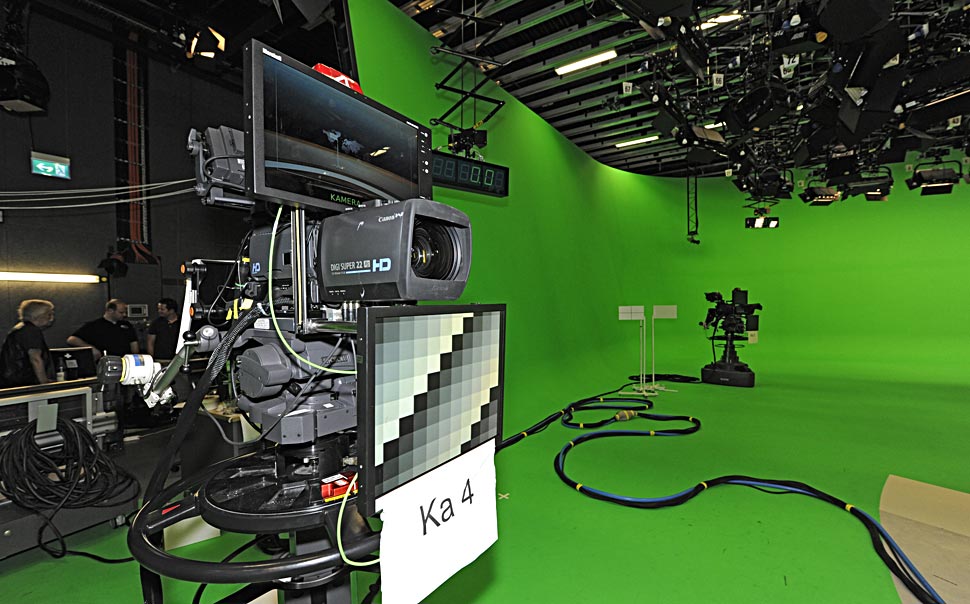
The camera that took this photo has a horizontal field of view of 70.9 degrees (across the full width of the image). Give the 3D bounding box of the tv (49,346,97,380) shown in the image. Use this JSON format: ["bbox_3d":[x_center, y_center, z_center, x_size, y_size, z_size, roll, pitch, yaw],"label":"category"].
[{"bbox_3d":[-5.391,0.846,8.928,0.514,0.422,0.618,-6,11,-31],"label":"tv"}]

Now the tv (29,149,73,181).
[{"bbox_3d":[-5.760,-1.799,8.976,0.066,0.325,0.486,6,4,43],"label":"tv"}]

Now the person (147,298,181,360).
[{"bbox_3d":[-4.578,0.406,9.671,0.447,0.845,0.549,-5,10,-25],"label":"person"}]
